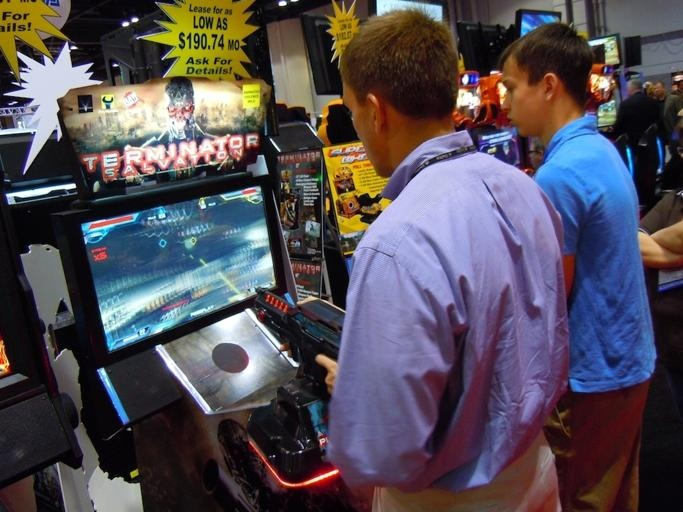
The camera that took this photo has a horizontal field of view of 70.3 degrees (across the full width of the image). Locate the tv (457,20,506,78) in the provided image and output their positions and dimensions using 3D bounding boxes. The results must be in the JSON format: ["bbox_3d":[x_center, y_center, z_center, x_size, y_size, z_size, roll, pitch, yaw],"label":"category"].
[{"bbox_3d":[1.337,-1.857,4.515,0.519,0.531,0.056,-8,12,-23],"label":"tv"}]

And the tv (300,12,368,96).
[{"bbox_3d":[-0.117,-1.357,3.237,0.526,0.746,0.067,1,-28,-3],"label":"tv"}]

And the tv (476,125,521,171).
[{"bbox_3d":[1.361,-0.894,4.158,0.428,0.328,0.046,-12,4,-22],"label":"tv"}]
